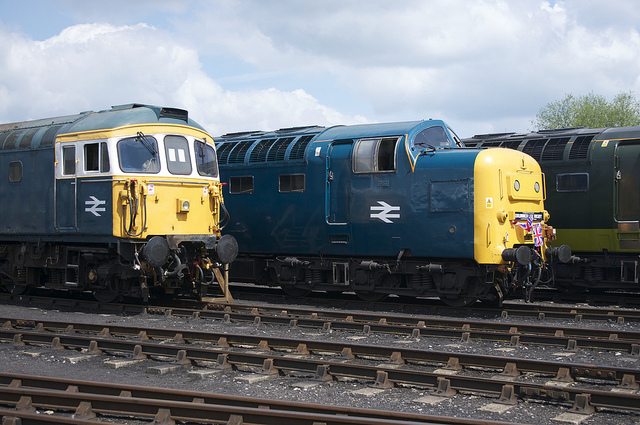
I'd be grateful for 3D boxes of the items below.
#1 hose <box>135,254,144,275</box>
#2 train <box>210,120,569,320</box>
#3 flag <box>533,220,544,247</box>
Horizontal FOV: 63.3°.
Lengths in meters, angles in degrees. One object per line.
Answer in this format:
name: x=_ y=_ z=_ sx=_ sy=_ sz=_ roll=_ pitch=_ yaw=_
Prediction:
hose: x=-4.630 y=1.325 z=13.372 sx=0.105 sy=0.523 sz=0.291 roll=-2 pitch=-2 yaw=0
train: x=-0.323 y=0.038 z=19.025 sx=15.624 sy=5.791 sz=4.628 roll=1 pitch=2 yaw=37
flag: x=6.077 y=0.599 z=14.412 sx=0.161 sy=0.483 sz=0.587 roll=-3 pitch=-2 yaw=34
